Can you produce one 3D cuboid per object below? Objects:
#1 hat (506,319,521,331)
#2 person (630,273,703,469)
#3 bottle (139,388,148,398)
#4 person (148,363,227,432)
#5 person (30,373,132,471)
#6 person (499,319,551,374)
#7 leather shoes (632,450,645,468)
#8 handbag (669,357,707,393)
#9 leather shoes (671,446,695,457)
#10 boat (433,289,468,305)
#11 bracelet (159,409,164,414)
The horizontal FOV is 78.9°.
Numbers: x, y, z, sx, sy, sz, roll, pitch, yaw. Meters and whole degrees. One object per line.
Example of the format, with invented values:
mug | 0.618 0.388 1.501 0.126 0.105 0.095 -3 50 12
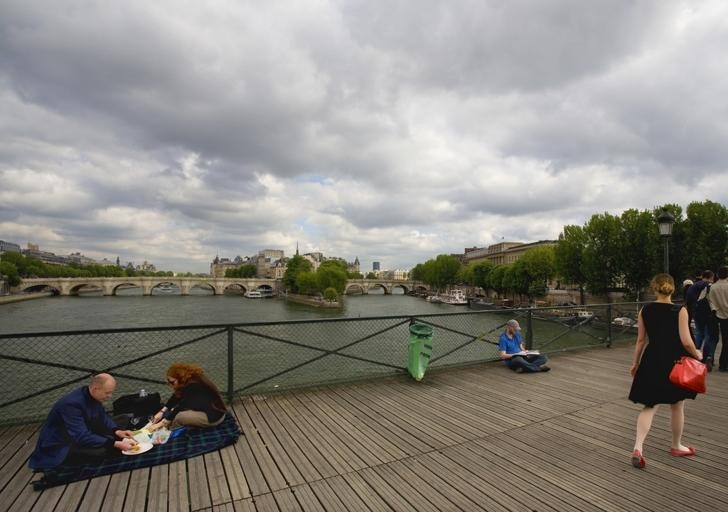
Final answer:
hat | 3.320 1.538 9.869 0.228 0.170 0.303 -11 17 -43
person | 4.169 1.522 6.122 0.828 2.557 1.278 5 9 37
bottle | -3.447 2.119 6.891 0.160 0.140 0.090 0 -4 -11
person | -2.627 2.141 6.747 1.152 0.960 0.848 -6 1 3
person | -3.760 2.262 6.107 1.204 1.187 1.127 10 -3 -44
person | 3.521 2.004 9.706 1.098 1.037 0.860 5 8 37
leather shoes | 3.661 2.724 5.907 0.111 0.116 0.299 -5 -50 37
handbag | 4.194 1.549 5.746 0.437 0.371 0.231 12 -8 18
leather shoes | 4.455 2.712 6.158 0.335 0.114 0.116 -4 -7 -7
boat | 14.663 7.166 75.202 3.034 2.168 11.196 1 -6 -9
bracelet | -2.995 2.317 6.577 0.052 0.013 0.053 -1 -1 44
